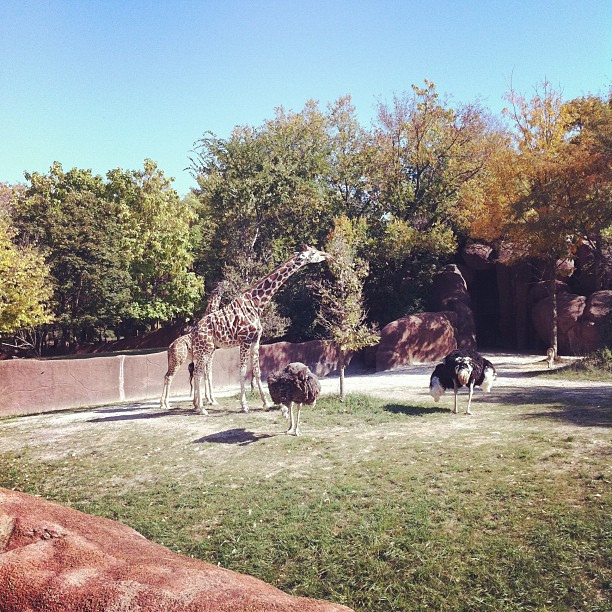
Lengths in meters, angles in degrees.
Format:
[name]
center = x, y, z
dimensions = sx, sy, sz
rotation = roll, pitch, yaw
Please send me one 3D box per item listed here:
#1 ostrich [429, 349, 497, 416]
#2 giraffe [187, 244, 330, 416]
[ostrich]
center = 3.302, 1.520, 12.772
dimensions = 1.312, 1.100, 1.317
rotation = 0, 6, 16
[giraffe]
center = -1.306, 0.513, 15.883
dimensions = 3.334, 4.881, 1.179
rotation = 3, 20, -7
